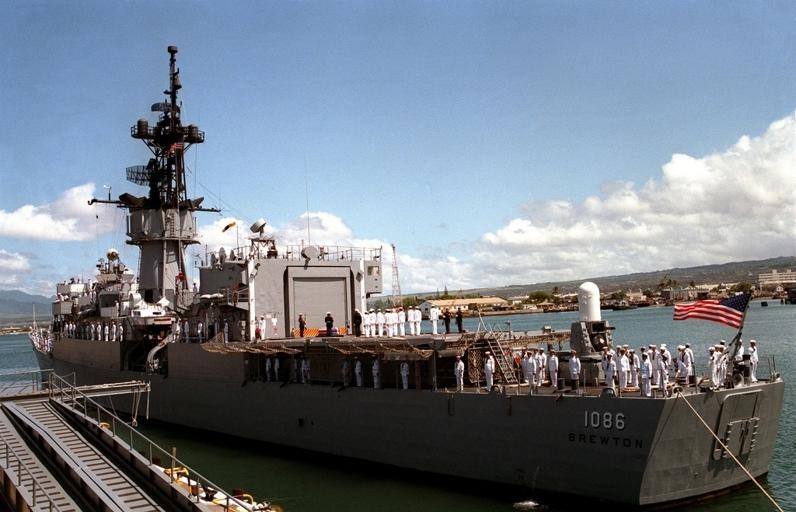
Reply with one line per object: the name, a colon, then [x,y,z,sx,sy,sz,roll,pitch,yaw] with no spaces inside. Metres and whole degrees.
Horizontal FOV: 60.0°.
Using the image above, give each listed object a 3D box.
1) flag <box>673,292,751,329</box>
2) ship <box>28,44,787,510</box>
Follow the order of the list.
flag: [12.770,2.168,28.567,2.911,1.499,0.328,3,28,9]
ship: [-5.370,4.160,49.384,19.383,24.097,58.324,-3,5,-45]
